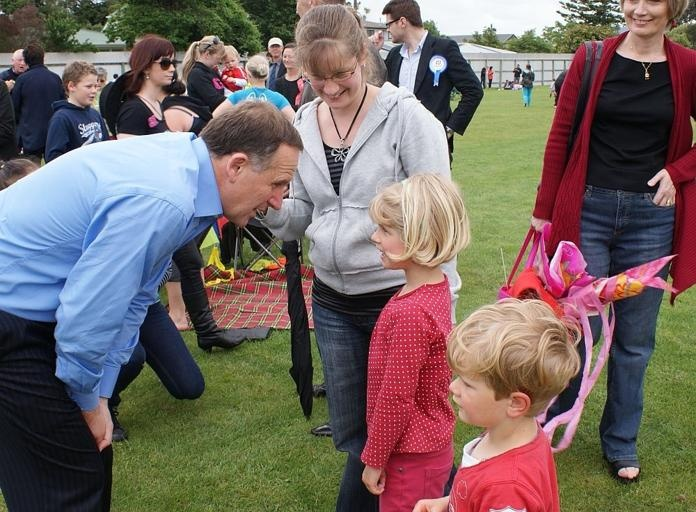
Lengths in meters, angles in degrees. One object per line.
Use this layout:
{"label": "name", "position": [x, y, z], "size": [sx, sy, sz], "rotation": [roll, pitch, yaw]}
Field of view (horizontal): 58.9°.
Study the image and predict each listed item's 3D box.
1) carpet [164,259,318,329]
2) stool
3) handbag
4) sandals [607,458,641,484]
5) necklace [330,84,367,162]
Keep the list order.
{"label": "carpet", "position": [-0.995, 0.447, 6.123], "size": [0.753, 0.081, 0.838], "rotation": [2, 17, 2]}
{"label": "stool", "position": [-1.009, -0.208, 6.849], "size": [0.756, 0.994, 0.627], "rotation": [-8, 14, -20]}
{"label": "handbag", "position": [0.964, 0.067, 3.378], "size": [0.237, 0.392, 0.931], "rotation": [5, 19, 15]}
{"label": "sandals", "position": [1.563, 1.213, 3.488], "size": [0.082, 0.089, 0.212], "rotation": [-6, -10, -3]}
{"label": "necklace", "position": [-0.006, -0.630, 2.968], "size": [0.155, 0.373, 0.181], "rotation": [9, 24, 23]}
